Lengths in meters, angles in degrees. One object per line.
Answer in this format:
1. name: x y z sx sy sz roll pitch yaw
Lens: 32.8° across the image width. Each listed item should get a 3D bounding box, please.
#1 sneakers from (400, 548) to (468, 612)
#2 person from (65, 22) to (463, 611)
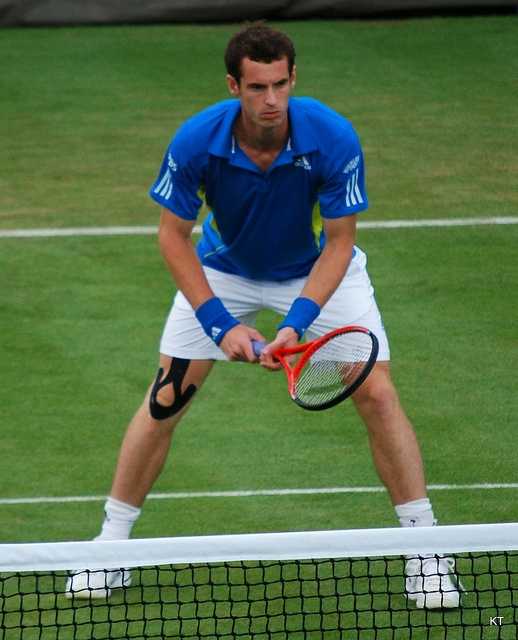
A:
1. sneakers: 0.639 1.047 3.465 0.223 0.421 0.244 2 74 -6
2. person: 0.019 -0.161 3.587 1.289 1.909 1.243 -1 36 3
